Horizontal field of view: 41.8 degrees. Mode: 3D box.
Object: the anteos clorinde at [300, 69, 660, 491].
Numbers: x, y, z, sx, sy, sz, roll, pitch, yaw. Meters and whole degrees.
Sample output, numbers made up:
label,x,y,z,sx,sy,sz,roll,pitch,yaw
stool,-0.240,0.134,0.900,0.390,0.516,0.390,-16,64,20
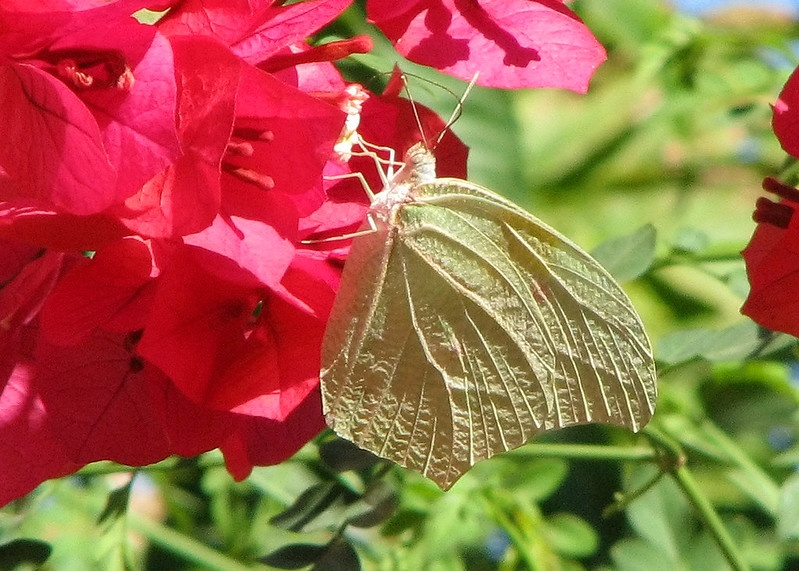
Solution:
label,x,y,z,sx,sy,sz,roll,pitch,yaw
anteos clorinde,0.072,0.026,1.017,0.240,0.353,0.499,15,5,9
